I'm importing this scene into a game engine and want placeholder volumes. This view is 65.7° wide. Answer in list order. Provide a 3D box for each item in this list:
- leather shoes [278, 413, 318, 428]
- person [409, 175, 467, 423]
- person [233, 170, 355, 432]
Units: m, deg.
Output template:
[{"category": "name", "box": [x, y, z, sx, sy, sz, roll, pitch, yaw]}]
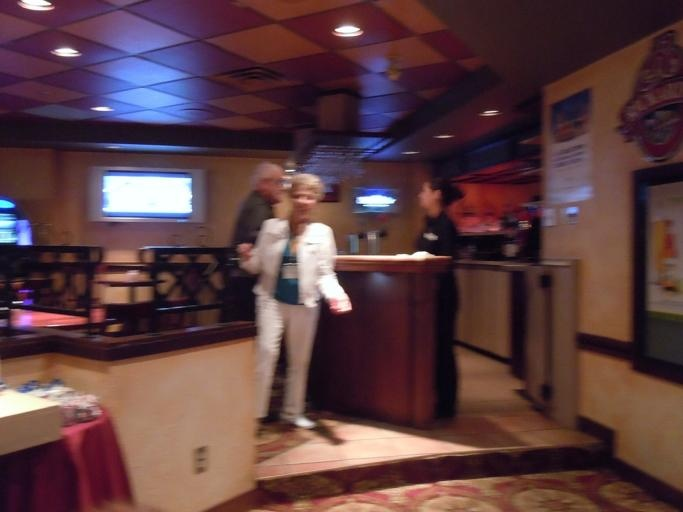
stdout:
[{"category": "leather shoes", "box": [-0.331, 1.241, 3.989, 0.214, 0.073, 0.099, 3, -11, 16]}, {"category": "person", "box": [0.750, 0.328, 4.154, 0.360, 1.865, 0.559, 0, 2, 12]}, {"category": "person", "box": [-0.352, 0.354, 3.748, 0.751, 1.853, 0.492, 0, 2, -8]}]
